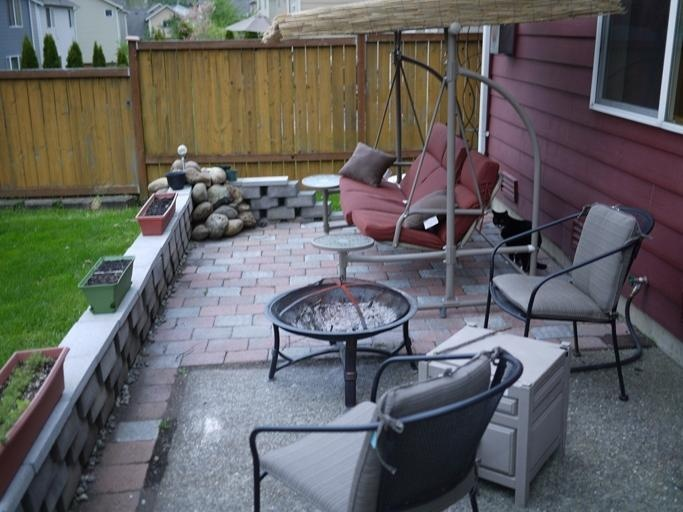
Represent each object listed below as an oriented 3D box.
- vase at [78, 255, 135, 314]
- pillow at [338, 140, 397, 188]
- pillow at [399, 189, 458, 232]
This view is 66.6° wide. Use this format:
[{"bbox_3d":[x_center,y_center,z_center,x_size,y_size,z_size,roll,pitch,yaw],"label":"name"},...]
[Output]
[{"bbox_3d":[-1.660,0.222,3.693,0.141,0.147,0.419,-1,26,-4],"label":"vase"},{"bbox_3d":[0.266,-1.050,6.134,0.467,0.171,0.566,20,62,19],"label":"pillow"},{"bbox_3d":[0.746,-0.366,4.539,0.346,0.123,0.398,-25,25,23],"label":"pillow"}]
